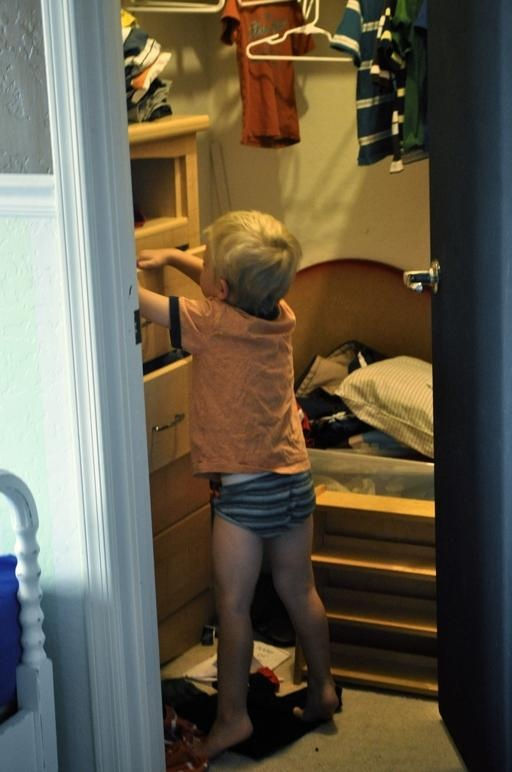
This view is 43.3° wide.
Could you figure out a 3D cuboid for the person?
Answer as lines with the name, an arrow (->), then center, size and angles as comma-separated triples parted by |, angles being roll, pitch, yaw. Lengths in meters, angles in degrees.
person -> -0.016, 0.215, 1.436 | 0.458, 1.181, 0.264 | -2, 5, -12
